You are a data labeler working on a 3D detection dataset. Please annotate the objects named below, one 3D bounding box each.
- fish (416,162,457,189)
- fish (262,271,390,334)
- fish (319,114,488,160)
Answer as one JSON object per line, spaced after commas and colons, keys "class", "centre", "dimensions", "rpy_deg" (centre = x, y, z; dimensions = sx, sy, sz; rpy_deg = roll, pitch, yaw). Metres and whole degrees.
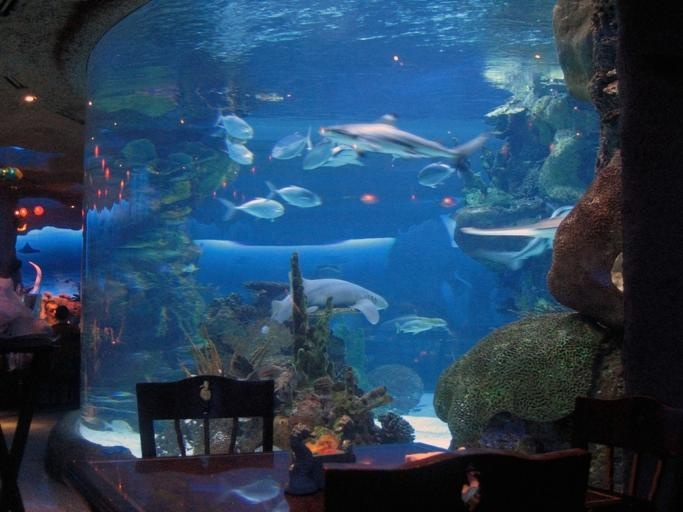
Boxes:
{"class": "fish", "centre": [1.884, -1.697, 13.312], "dimensions": [0.592, 0.449, 0.895], "rpy_deg": [-4, 5, 0]}
{"class": "fish", "centre": [-0.183, 0.896, 12.469], "dimensions": [2.506, 0.810, 0.682], "rpy_deg": [3, -33, -26]}
{"class": "fish", "centre": [0.900, -1.823, 10.529], "dimensions": [2.705, 0.751, 0.577], "rpy_deg": [1, 8, 39]}
